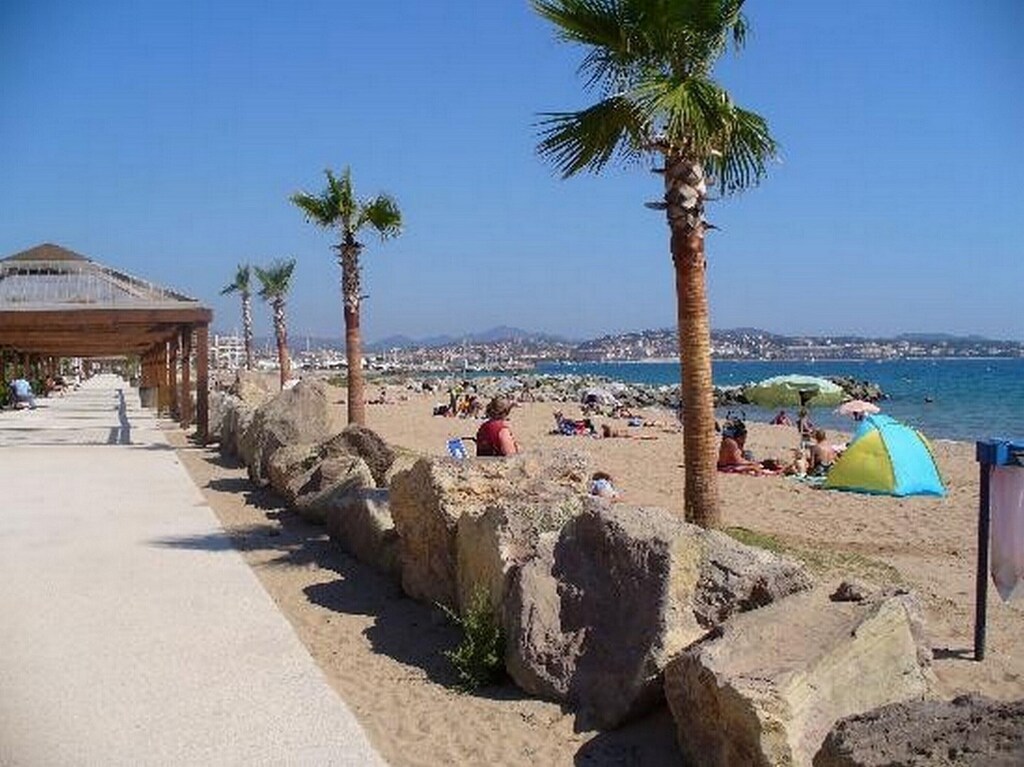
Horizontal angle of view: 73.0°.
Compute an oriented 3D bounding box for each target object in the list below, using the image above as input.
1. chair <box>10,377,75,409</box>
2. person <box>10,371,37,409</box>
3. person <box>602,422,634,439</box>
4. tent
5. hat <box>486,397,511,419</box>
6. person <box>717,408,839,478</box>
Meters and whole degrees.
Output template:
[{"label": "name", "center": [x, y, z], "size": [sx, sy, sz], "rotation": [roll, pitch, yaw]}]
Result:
[{"label": "chair", "center": [-23.341, 0.451, 34.404], "size": [1.657, 1.661, 2.580], "rotation": [-1, 5, -11]}, {"label": "person", "center": [-20.788, 0.375, 29.481], "size": [0.782, 1.161, 2.004], "rotation": [-2, 5, -36]}, {"label": "person", "center": [3.137, 1.374, 20.279], "size": [0.734, 0.325, 1.091], "rotation": [3, 4, 25]}, {"label": "tent", "center": [6.309, 1.170, 11.951], "size": [1.653, 1.055, 1.429], "rotation": [2, 3, 43]}, {"label": "hat", "center": [-0.129, 0.263, 7.535], "size": [0.204, 0.265, 0.267], "rotation": [4, 8, 12]}, {"label": "person", "center": [5.162, 1.183, 13.872], "size": [1.813, 0.650, 1.331], "rotation": [-1, 3, 3]}]
